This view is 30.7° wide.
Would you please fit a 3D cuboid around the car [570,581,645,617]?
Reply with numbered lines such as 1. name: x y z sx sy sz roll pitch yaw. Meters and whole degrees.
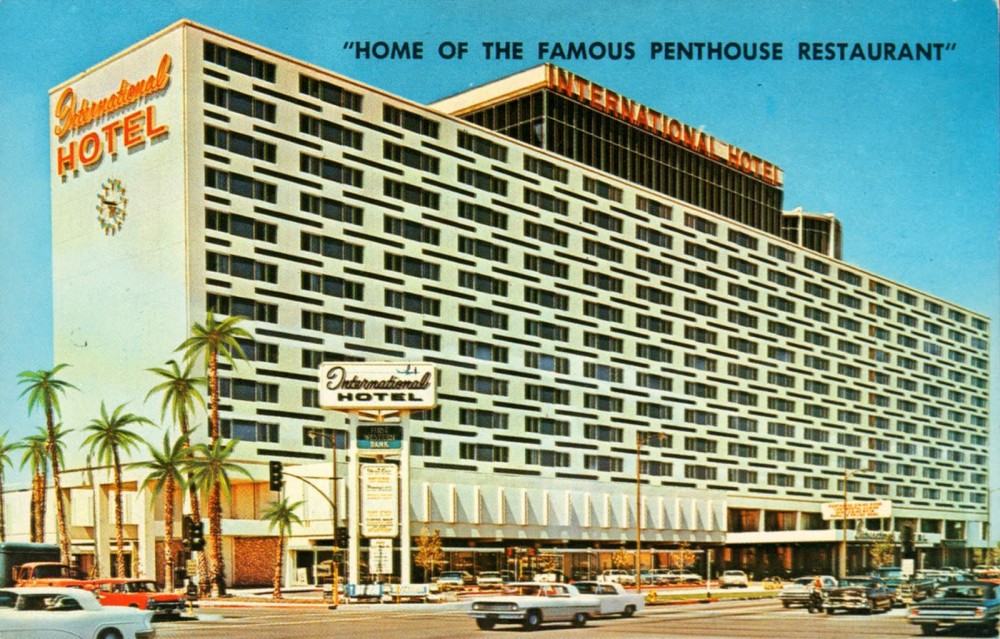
1. car: 9.771 25.527 166.158 3.035 2.267 6.800 -12 -17 43

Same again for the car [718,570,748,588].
1. car: 27.789 30.941 216.302 2.930 1.734 5.427 0 -2 6
